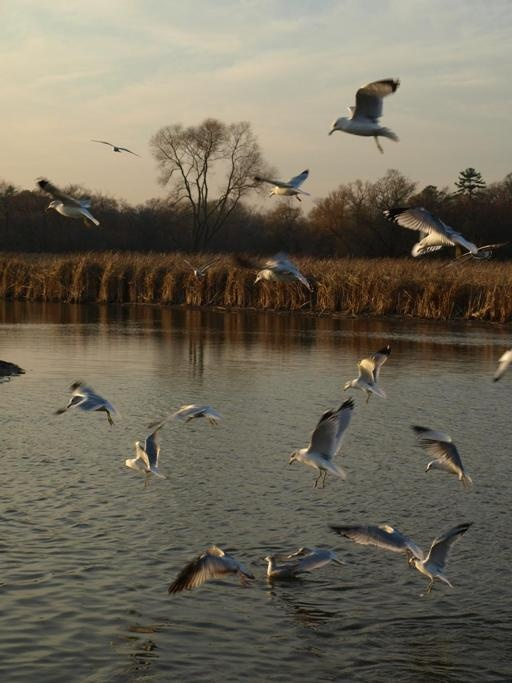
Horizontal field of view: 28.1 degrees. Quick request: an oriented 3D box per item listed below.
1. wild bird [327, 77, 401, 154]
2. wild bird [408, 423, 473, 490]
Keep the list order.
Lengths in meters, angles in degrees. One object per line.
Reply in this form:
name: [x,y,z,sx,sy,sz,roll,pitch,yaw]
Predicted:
wild bird: [1.071,-2.176,10.091,0.613,0.776,1.589,-1,3,4]
wild bird: [1.646,1.057,9.203,0.452,0.317,0.679,33,8,19]
